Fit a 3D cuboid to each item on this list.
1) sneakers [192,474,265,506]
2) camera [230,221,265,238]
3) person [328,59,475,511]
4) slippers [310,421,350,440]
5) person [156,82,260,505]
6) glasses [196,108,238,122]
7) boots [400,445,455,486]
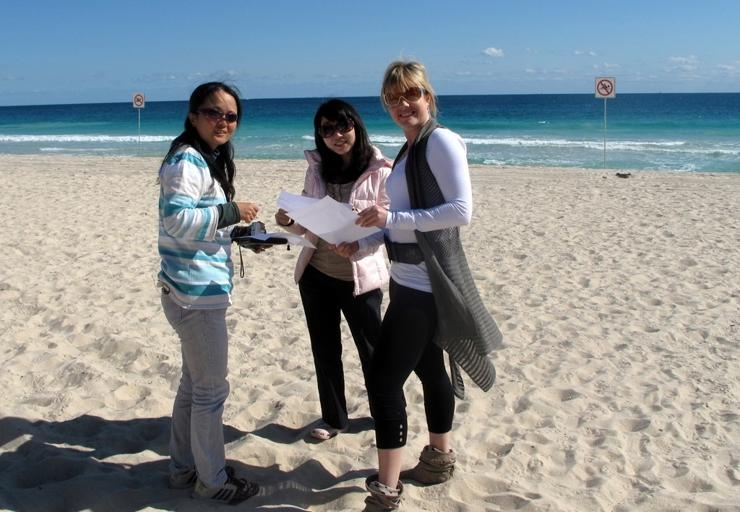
[{"bbox_3d":[-0.970,1.617,4.097,0.498,0.194,0.159,-2,13,-25],"label":"sneakers"},{"bbox_3d":[-0.858,-0.175,4.044,0.321,0.107,0.099,2,3,22],"label":"camera"},{"bbox_3d":[0.275,0.198,3.909,0.752,2.952,0.655,-2,9,-18],"label":"person"},{"bbox_3d":[-0.342,1.402,4.694,0.253,0.060,0.120,5,3,-33],"label":"slippers"},{"bbox_3d":[-1.101,0.259,3.994,0.675,2.841,0.540,0,9,-8],"label":"person"},{"bbox_3d":[-1.008,-0.937,3.877,0.256,0.087,0.053,-1,9,-13],"label":"glasses"},{"bbox_3d":[0.408,1.530,4.225,0.533,0.224,0.182,-15,-31,42],"label":"boots"}]
